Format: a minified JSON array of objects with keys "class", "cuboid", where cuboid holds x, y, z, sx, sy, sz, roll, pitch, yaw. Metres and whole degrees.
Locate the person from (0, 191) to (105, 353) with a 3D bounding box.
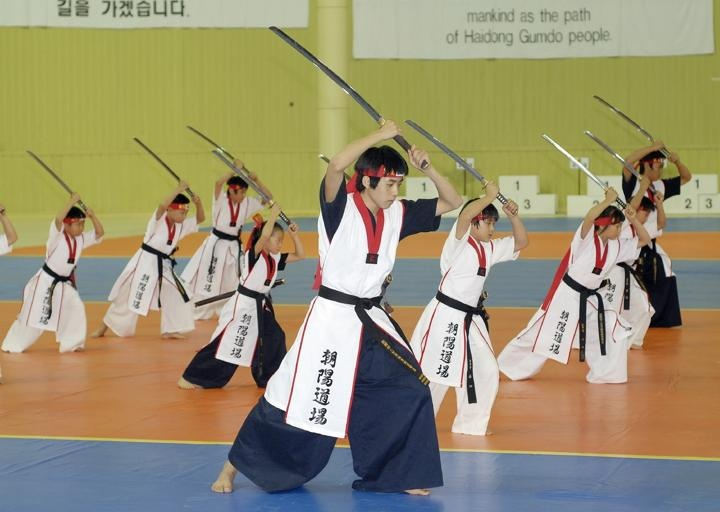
[{"class":"person","cuboid":[-3.638,0.218,12.227,1.243,1.841,0.705,-6,13,-17]}]
